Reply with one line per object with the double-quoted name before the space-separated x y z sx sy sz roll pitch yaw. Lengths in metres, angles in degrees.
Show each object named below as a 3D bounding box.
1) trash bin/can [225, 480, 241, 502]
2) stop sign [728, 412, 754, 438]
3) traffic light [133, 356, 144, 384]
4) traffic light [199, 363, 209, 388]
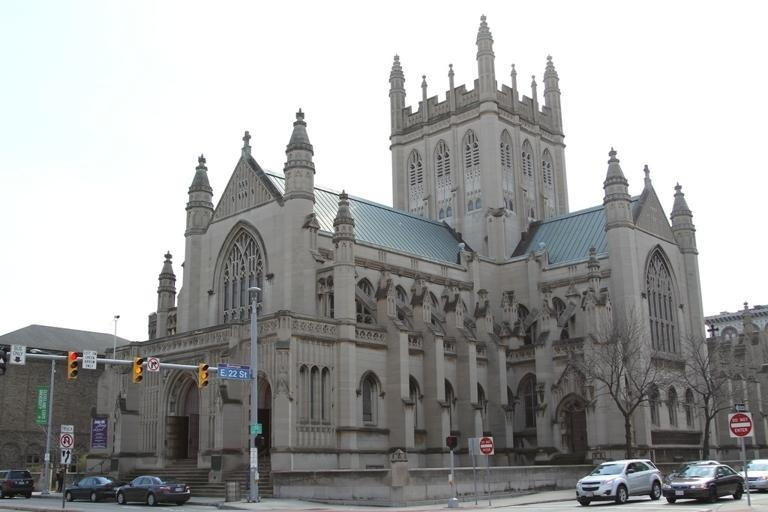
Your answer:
"trash bin/can" -9.320 14.356 53.963 1.107 1.557 1.120 0 -12 -4
"stop sign" 19.273 9.015 47.598 1.072 1.376 1.479 -8 -21 17
"traffic light" -15.146 6.860 54.181 0.520 1.588 1.184 2 -20 -9
"traffic light" -11.505 7.471 56.029 0.610 1.643 1.271 2 -20 -10
